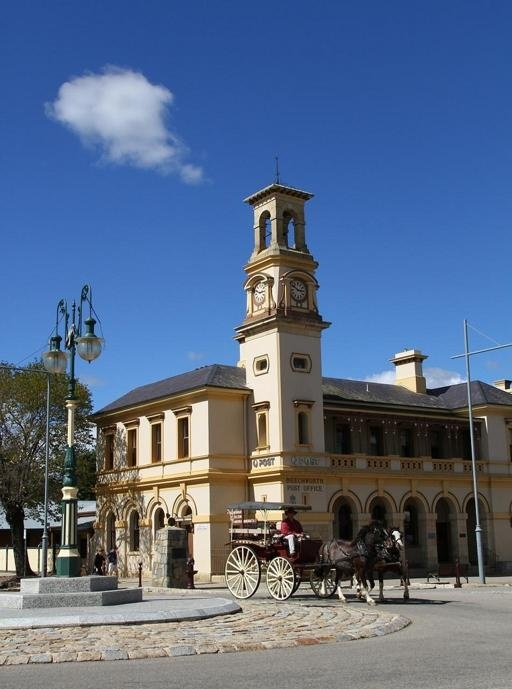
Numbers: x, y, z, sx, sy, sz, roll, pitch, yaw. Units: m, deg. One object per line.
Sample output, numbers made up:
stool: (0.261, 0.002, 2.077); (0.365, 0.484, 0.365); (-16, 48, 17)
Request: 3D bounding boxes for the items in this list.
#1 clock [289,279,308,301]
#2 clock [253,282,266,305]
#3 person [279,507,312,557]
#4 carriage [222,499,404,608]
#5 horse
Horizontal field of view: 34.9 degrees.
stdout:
clock: (1.926, -2.513, 38.216); (1.088, 1.000, 0.101); (8, -15, -39)
clock: (0.152, -2.374, 38.514); (0.113, 1.288, 1.180); (3, -4, -22)
person: (1.024, 5.152, 22.018); (0.605, 1.352, 0.796); (9, -22, -21)
carriage: (1.573, 5.598, 21.475); (5.429, 2.399, 2.041); (-10, -16, 44)
horse: (2.580, 5.401, 20.137); (1.093, 2.009, 2.060); (1, -3, -40)
